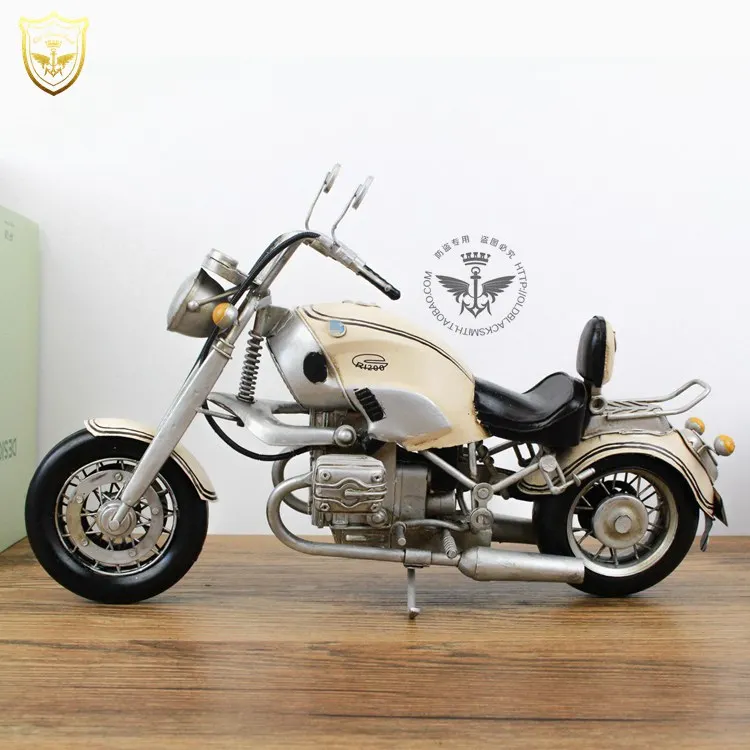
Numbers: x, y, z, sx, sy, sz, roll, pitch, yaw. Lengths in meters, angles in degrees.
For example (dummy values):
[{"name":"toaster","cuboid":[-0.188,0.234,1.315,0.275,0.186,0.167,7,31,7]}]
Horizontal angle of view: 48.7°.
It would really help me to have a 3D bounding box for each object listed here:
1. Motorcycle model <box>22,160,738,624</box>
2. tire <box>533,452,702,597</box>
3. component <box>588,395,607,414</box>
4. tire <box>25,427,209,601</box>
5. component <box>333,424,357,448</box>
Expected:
[{"name":"Motorcycle model","cuboid":[0.109,0.161,3.032,2.775,1.371,0.985,1,-6,-6]},{"name":"tire","cuboid":[0.731,0.454,2.533,0.527,0.453,0.137,-5,3,2]},{"name":"component","cuboid":[0.666,0.089,2.490,0.067,0.056,0.014,5,2,13]},{"name":"tire","cuboid":[-0.741,0.417,2.387,0.599,0.512,0.121,5,6,0]},{"name":"component","cuboid":[-0.085,0.172,2.299,0.064,0.057,0.039,28,0,2]}]
